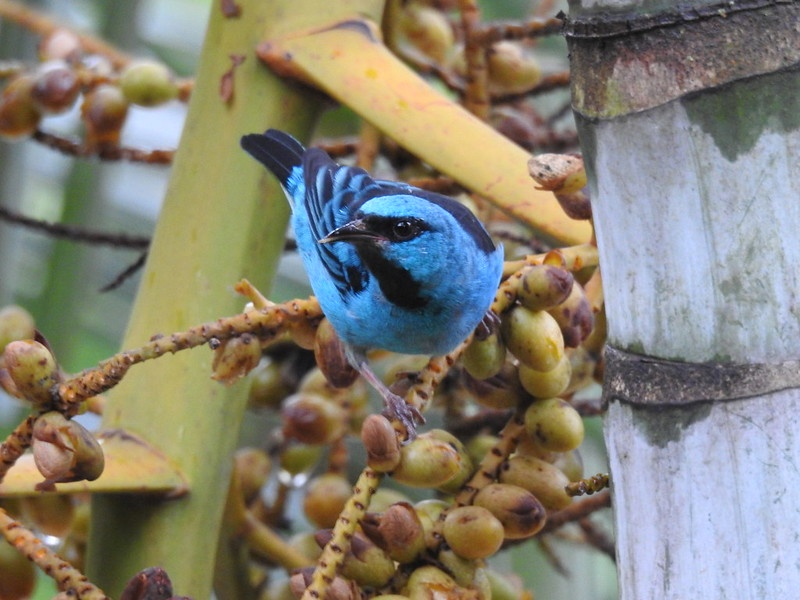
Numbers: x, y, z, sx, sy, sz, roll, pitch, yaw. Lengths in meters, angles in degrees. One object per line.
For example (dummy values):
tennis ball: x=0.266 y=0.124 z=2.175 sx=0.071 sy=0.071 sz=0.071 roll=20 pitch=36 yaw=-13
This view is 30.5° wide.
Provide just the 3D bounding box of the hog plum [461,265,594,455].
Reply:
hog plum: x=0.204 y=0.115 z=2.401 sx=0.140 sy=0.196 sz=0.321 roll=-19 pitch=-24 yaw=-17

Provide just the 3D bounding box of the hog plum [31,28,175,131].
hog plum: x=-0.540 y=-0.414 z=2.706 sx=0.210 sy=0.085 sz=0.216 roll=10 pitch=19 yaw=-3
